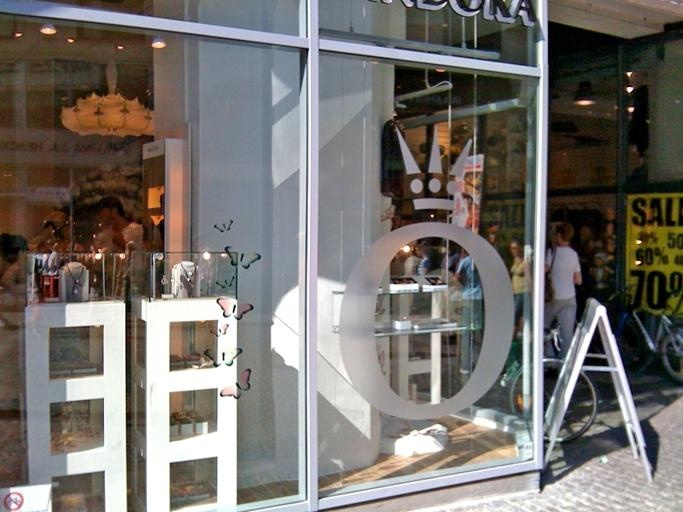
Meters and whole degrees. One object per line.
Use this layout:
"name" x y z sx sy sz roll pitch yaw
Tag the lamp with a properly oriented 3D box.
"lamp" -1.899 -1.240 5.730 0.649 0.578 0.135 -3 3 -4
